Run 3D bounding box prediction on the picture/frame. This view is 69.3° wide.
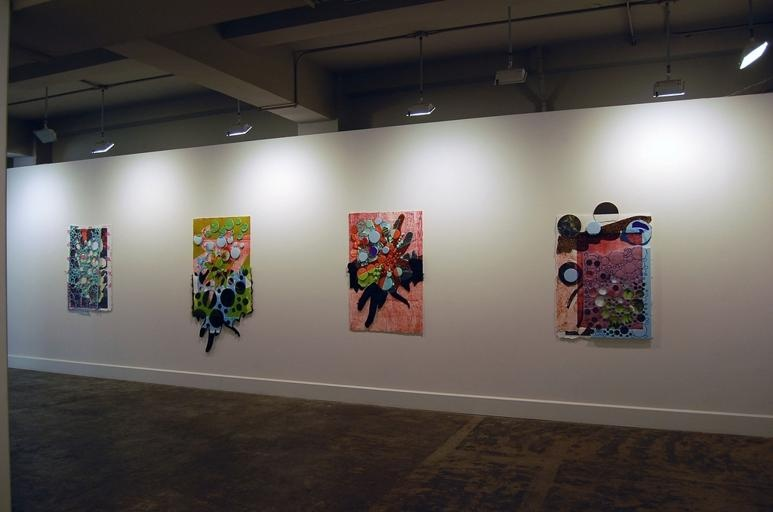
[{"bbox_3d":[-5.893,0.263,11.105,1.203,1.670,0.301,2,7,25],"label":"picture/frame"}]
